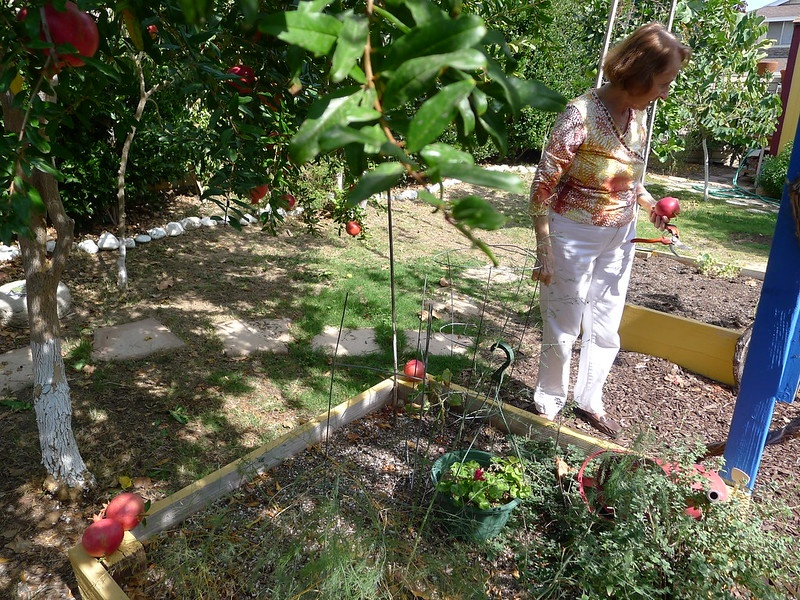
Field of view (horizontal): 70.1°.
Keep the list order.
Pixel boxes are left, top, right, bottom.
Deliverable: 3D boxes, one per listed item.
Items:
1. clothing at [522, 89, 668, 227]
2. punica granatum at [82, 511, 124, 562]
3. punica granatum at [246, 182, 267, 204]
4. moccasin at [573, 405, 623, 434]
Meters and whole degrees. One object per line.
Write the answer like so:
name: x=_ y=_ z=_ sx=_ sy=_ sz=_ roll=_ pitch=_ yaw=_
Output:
clothing: x=1.023 y=-0.702 z=2.882 sx=0.702 sy=0.596 sz=0.405 roll=-5 pitch=22 yaw=-23
punica granatum: x=-1.098 y=0.875 z=2.122 sx=0.114 sy=0.130 sz=0.152 roll=22 pitch=23 yaw=40
punica granatum: x=-0.580 y=-0.439 z=2.310 sx=0.069 sy=0.042 sz=0.090 roll=-40 pitch=43 yaw=-21
moccasin: x=1.113 y=0.695 z=3.271 sx=0.293 sy=0.118 sz=0.090 roll=23 pitch=40 yaw=30
